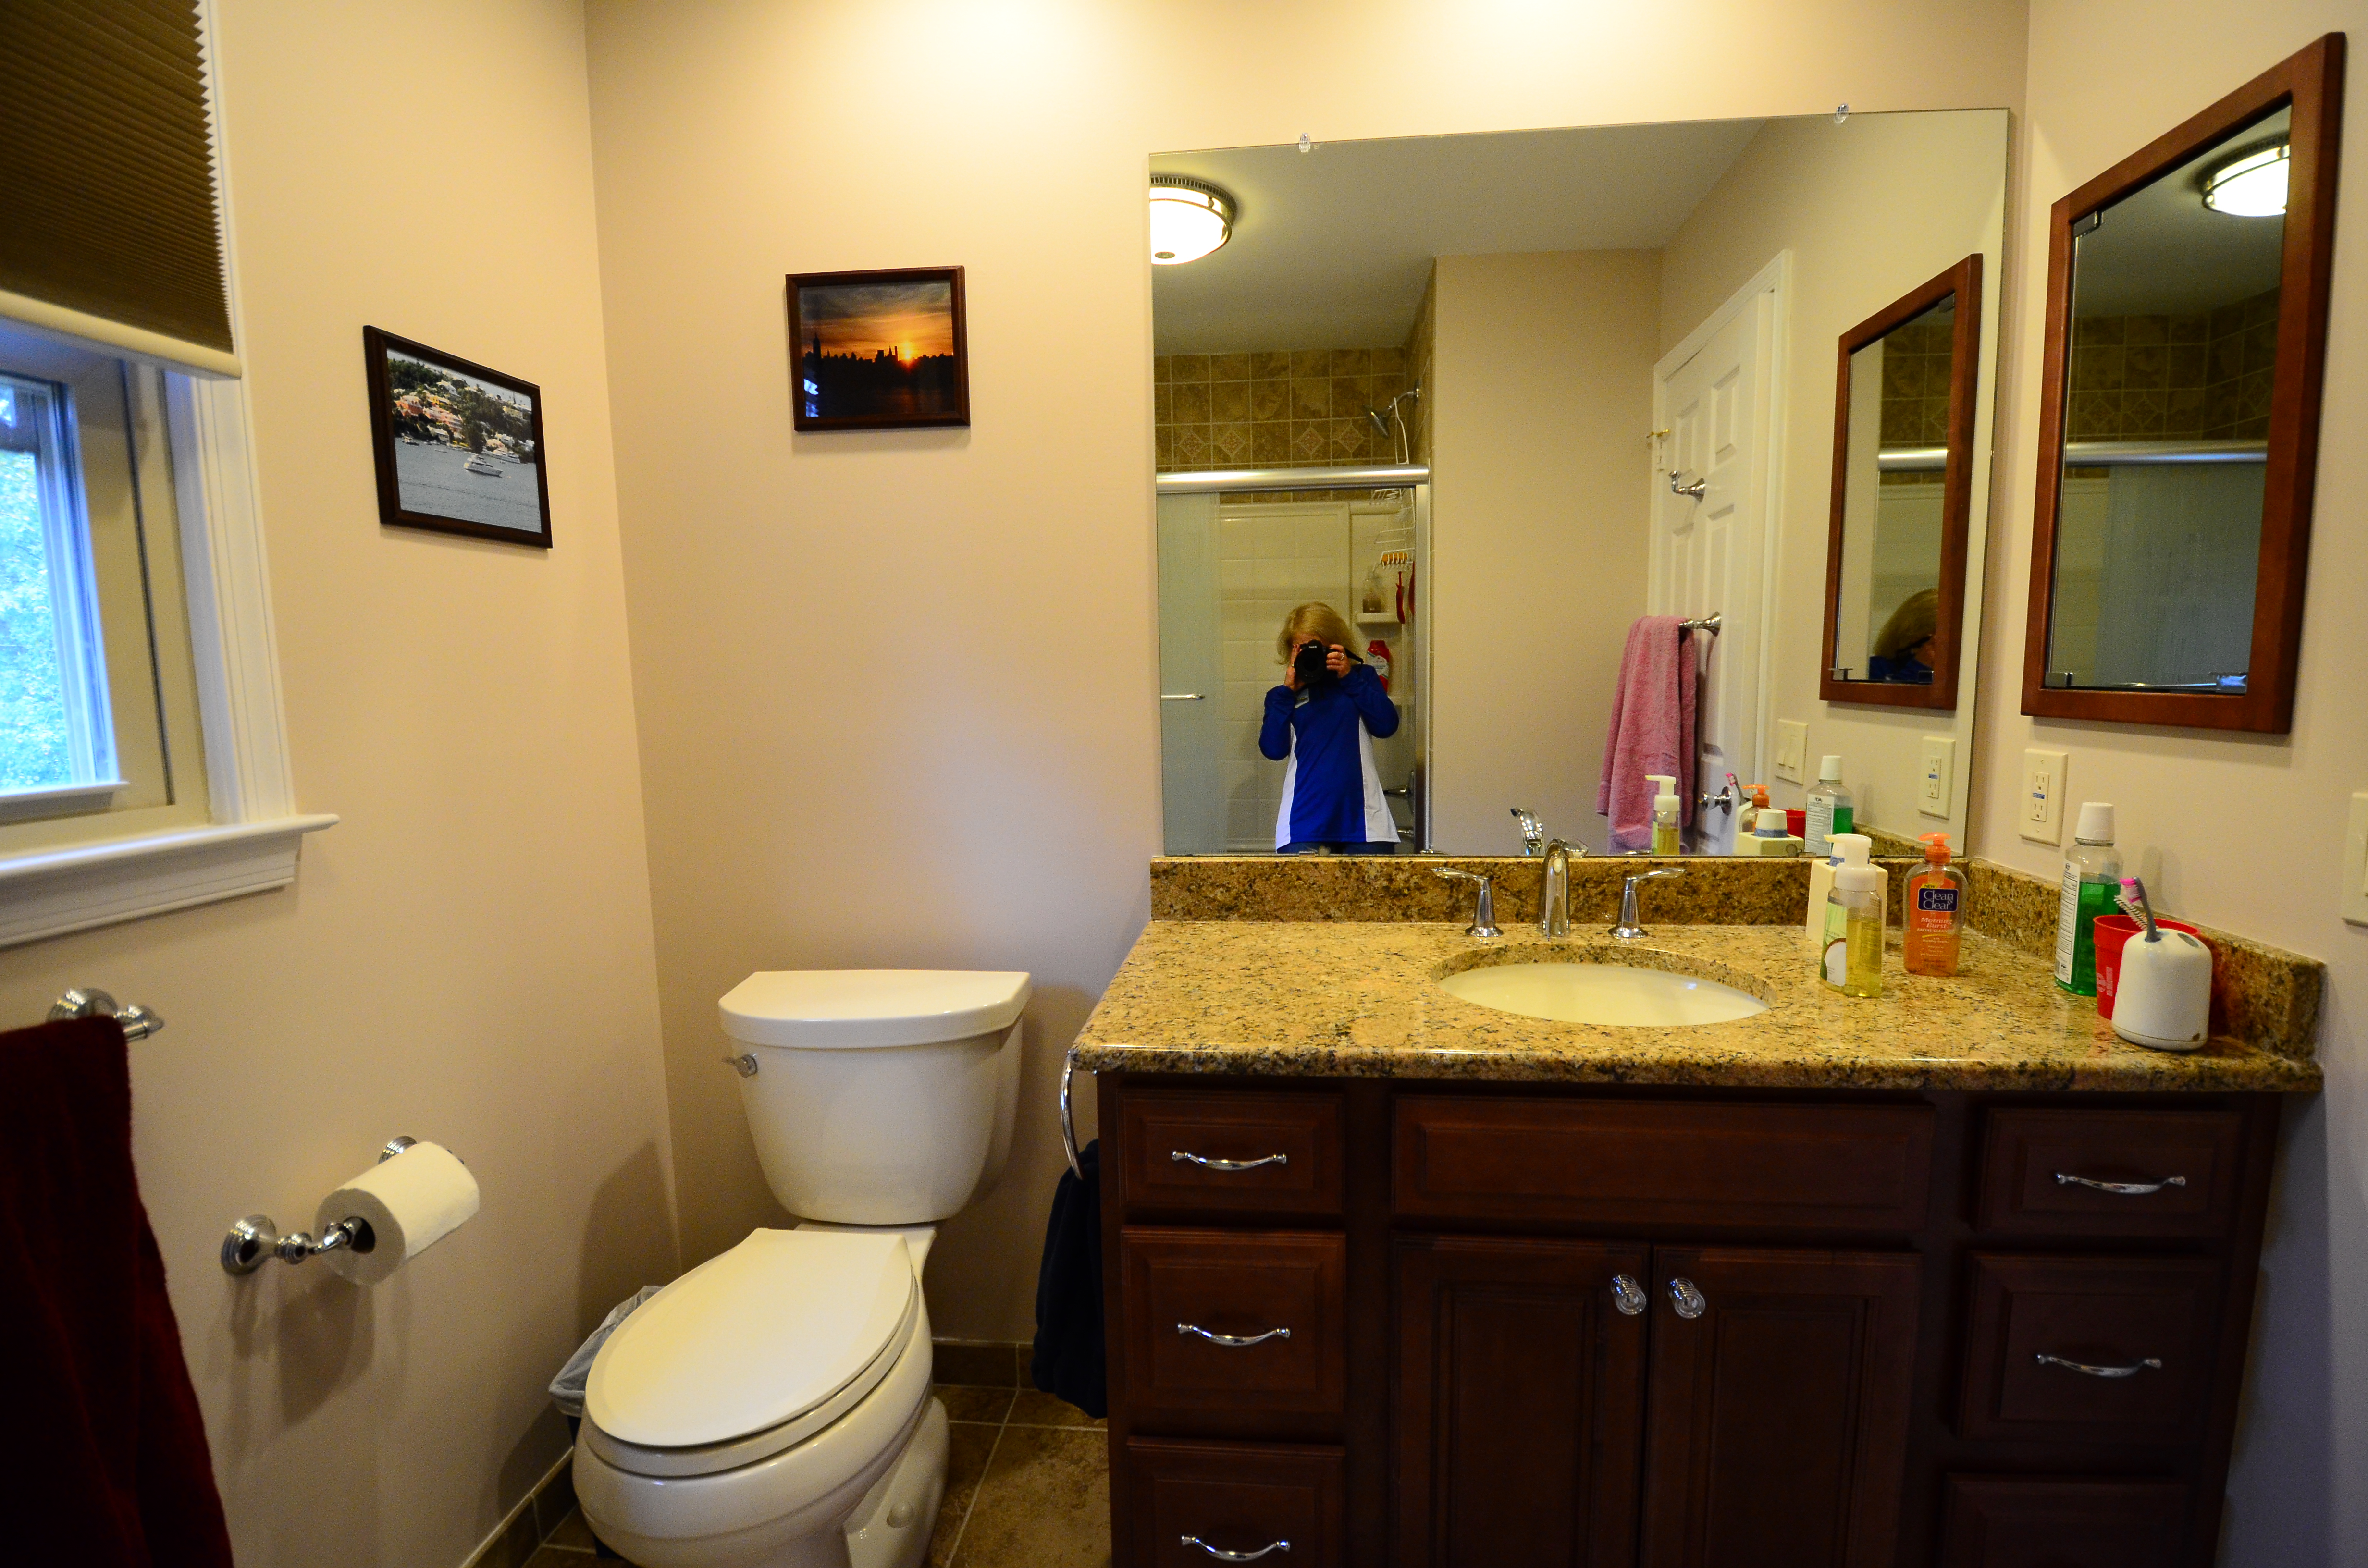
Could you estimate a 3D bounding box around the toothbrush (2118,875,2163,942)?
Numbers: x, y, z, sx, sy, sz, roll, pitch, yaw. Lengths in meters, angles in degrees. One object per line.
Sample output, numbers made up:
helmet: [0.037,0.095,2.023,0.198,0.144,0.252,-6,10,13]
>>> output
toothbrush: [1.489,0.179,2.649,0.040,0.140,0.052,-5,-36,11]

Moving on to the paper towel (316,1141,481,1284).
paper towel: [-1.282,0.695,2.740,0.152,0.167,0.193,-10,7,6]

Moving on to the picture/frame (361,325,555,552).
picture/frame: [-1.258,-0.587,2.888,0.027,0.413,0.403,0,4,27]

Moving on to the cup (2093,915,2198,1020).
cup: [1.519,0.283,2.644,0.151,0.167,0.150,0,-3,0]

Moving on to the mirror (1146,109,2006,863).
mirror: [0.756,-0.583,3.039,1.291,1.365,0.024,0,8,8]

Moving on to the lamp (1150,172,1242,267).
lamp: [0.010,-1.018,3.079,0.134,0.141,0.031,13,25,-3]

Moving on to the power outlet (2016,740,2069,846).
power outlet: [1.454,0.020,2.870,0.019,0.159,0.090,-2,8,-16]

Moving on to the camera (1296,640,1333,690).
camera: [0.233,-0.214,3.110,0.056,0.083,0.027,5,7,3]

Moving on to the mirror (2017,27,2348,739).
mirror: [1.577,-0.604,2.688,0.132,1.036,0.444,-3,8,-26]

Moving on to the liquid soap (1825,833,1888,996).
liquid soap: [1.114,0.209,2.811,0.094,0.247,0.172,4,8,21]

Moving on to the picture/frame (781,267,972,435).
picture/frame: [-0.561,-0.810,3.127,0.290,0.255,0.022,0,6,2]
